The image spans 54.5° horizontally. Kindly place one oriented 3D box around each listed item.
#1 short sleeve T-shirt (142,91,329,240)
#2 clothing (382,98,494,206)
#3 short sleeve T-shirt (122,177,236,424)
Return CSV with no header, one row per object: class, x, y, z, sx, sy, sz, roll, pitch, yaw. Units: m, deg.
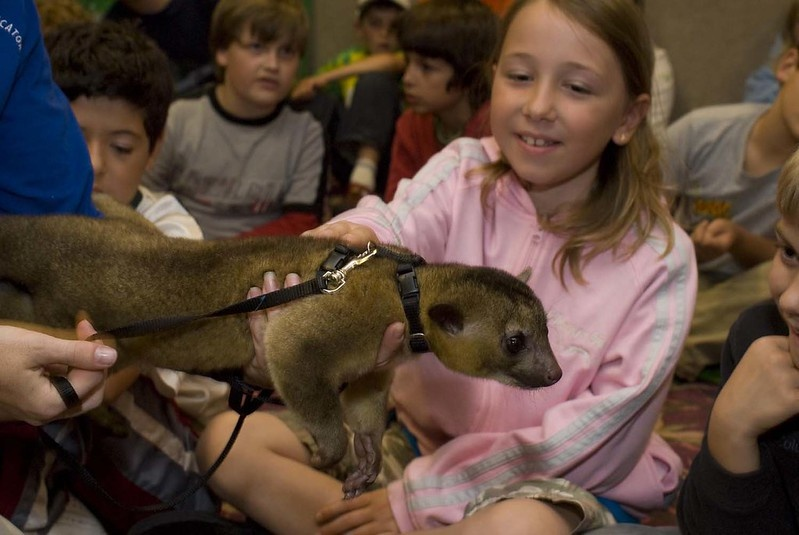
short sleeve T-shirt,-0.983,-0.612,4.782,0.960,0.959,0.358,12,62,-11
clothing,0.244,-0.726,4.842,0.851,0.875,0.267,0,-8,21
short sleeve T-shirt,-1.275,0.311,4.509,0.786,1.558,0.443,4,10,-19
